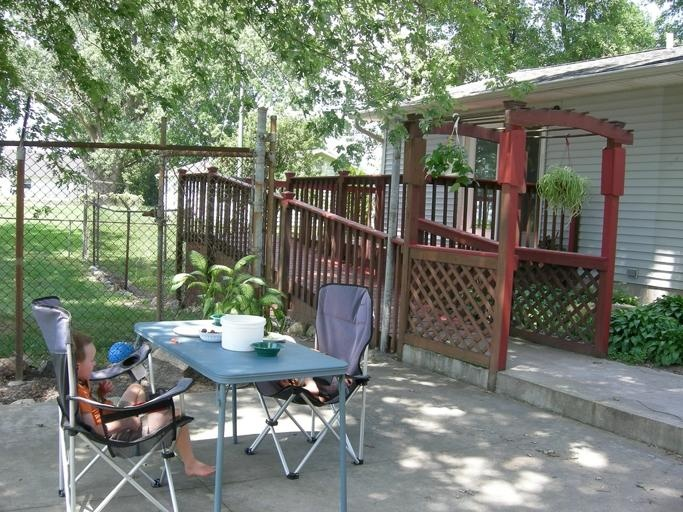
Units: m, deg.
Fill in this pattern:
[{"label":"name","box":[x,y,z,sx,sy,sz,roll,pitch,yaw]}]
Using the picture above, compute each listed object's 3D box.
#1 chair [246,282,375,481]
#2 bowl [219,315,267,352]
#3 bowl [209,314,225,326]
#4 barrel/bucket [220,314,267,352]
[{"label":"chair","box":[-0.268,0.936,4.759,0.860,1.362,0.879,3,1,38]},{"label":"bowl","box":[-0.694,0.544,4.341,0.359,0.231,0.369,2,8,0]},{"label":"bowl","box":[-0.996,0.504,4.769,0.128,0.097,0.129,0,-4,0]},{"label":"barrel/bucket","box":[-0.707,0.531,4.239,0.258,0.163,0.260,3,1,0]}]
